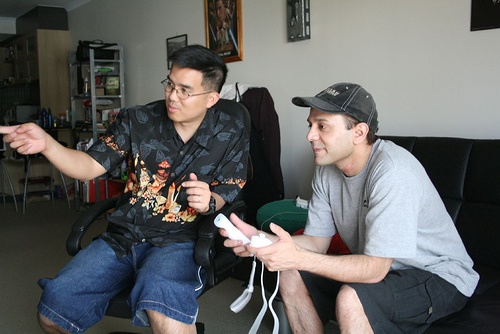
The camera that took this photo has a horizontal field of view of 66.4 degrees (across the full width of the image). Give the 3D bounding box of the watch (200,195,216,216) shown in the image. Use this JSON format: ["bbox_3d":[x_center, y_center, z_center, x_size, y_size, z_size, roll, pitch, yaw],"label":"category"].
[{"bbox_3d":[-0.233,0.211,2.121,0.080,0.098,0.057,-8,-35,16],"label":"watch"}]

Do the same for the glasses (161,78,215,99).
[{"bbox_3d":[-0.359,-0.462,2.284,0.232,0.064,0.242,24,23,32],"label":"glasses"}]

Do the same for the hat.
[{"bbox_3d":[0.444,-0.305,2.001,0.356,0.186,0.249,13,5,-16],"label":"hat"}]
